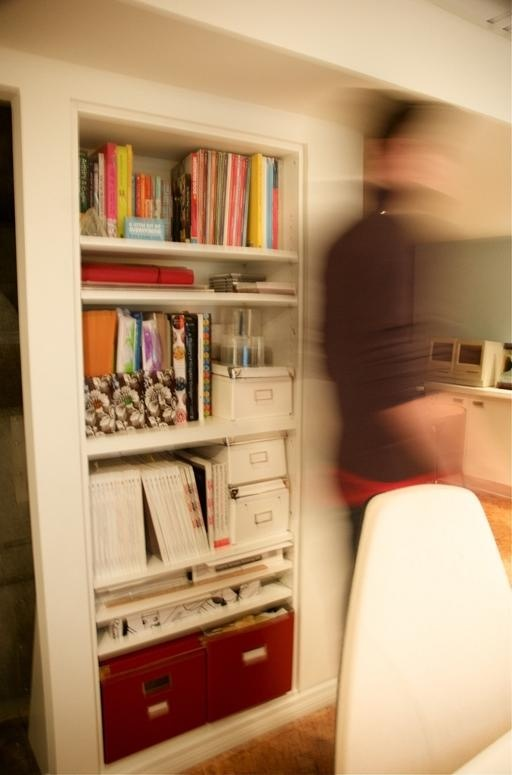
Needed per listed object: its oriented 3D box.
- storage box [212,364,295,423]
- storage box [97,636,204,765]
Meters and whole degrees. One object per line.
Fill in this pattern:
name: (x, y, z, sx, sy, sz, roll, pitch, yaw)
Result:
storage box: (-0.012, -0.004, 1.086, 0.109, 0.081, 0.116, -2, 5, -30)
storage box: (-0.229, 0.585, 1.210, 0.197, 0.205, 0.194, -1, -3, -35)
